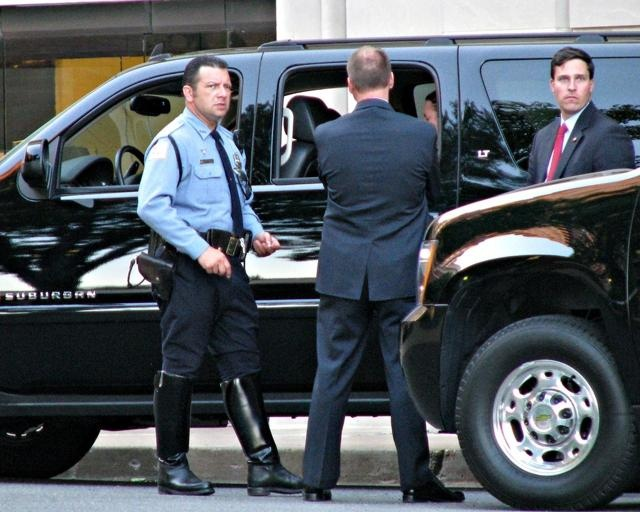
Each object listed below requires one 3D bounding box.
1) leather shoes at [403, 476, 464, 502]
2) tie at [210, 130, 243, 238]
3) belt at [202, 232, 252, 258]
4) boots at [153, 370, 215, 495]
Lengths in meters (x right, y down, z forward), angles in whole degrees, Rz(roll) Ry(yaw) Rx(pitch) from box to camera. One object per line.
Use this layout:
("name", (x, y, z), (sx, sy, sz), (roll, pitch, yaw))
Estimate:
("leather shoes", (0.583, 1.252, 6.959), (0.365, 0.146, 0.124), (-3, -1, -6))
("tie", (-0.509, -0.360, 7.184), (0.116, 0.699, 0.079), (-3, 17, 6))
("belt", (-0.502, -0.068, 7.140), (0.262, 0.163, 0.097), (-3, 9, -29))
("boots", (-0.732, 0.964, 7.096), (0.313, 0.657, 0.145), (5, 8, 30))
